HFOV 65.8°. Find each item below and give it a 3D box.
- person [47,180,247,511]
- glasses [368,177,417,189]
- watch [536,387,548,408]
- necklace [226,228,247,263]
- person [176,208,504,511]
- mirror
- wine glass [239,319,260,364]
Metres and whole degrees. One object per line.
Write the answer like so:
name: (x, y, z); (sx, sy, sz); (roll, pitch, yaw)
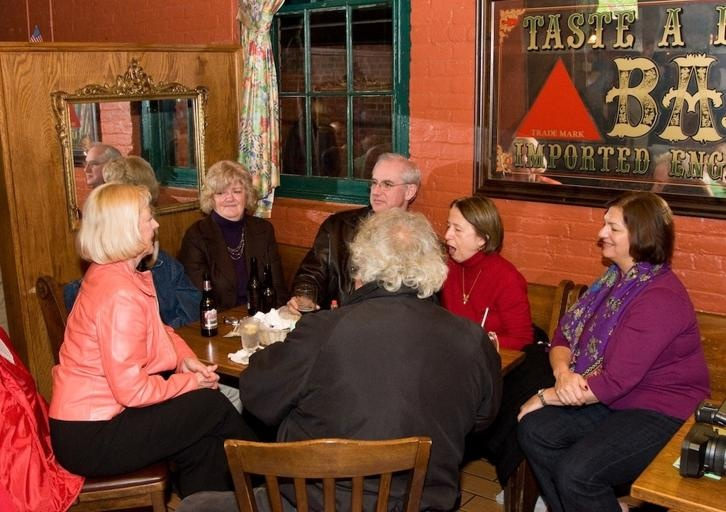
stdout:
person: (-0.928, 0.480, 2.660); (0.987, 1.568, 0.648); (-5, 11, -24)
glasses: (0.203, -0.459, 3.509); (0.290, 0.066, 0.097); (-2, 9, -3)
watch: (0.852, 0.674, 2.696); (0.041, 0.064, 0.066); (-9, -13, 6)
necklace: (-0.836, -0.066, 3.656); (0.152, 0.192, 0.020); (-31, 21, -29)
person: (-0.007, 0.351, 2.252); (1.207, 1.402, 0.939); (-1, 9, -28)
mirror: (-1.597, -0.792, 3.739); (0.067, 1.113, 1.187); (9, 17, 32)
wine glass: (-0.533, 0.376, 2.647); (0.096, 0.162, 0.099); (-4, 10, -17)
